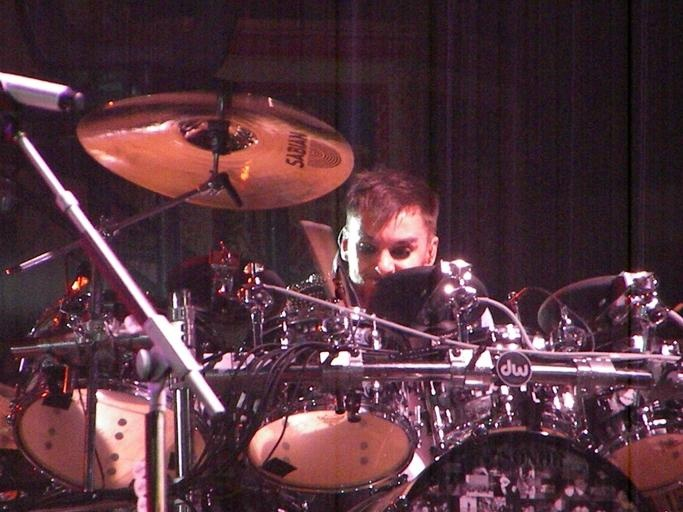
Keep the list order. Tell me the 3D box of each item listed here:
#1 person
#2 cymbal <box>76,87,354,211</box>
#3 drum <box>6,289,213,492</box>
[{"bbox_3d":[0.199,0.002,3.786,0.466,0.843,0.545,3,-27,1],"label":"person"},{"bbox_3d":[-0.413,-0.429,3.028,0.772,0.228,0.834,4,-16,-2],"label":"cymbal"},{"bbox_3d":[-0.721,0.455,2.700,0.575,0.423,0.735,2,-28,-9],"label":"drum"}]
